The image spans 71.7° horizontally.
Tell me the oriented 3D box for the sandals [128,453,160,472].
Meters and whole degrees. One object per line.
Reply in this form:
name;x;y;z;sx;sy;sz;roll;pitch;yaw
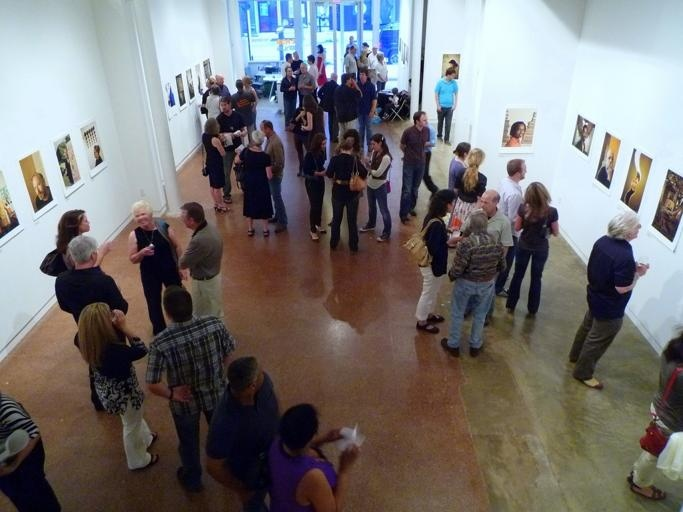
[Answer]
sandals;-1.958;2.059;4.695;0.278;0.082;0.116;-24;59;-31

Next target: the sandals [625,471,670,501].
sandals;2.838;2.156;4.410;0.297;0.080;0.165;27;70;29

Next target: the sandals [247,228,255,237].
sandals;-1.579;-0.409;8.174;0.062;0.072;0.187;-1;27;-1

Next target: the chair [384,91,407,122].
chair;1.587;-4.484;14.385;0.823;0.845;0.944;7;-9;7

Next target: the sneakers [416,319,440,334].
sneakers;1.132;0.908;6.165;0.251;0.105;0.141;8;42;16

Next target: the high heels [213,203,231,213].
high heels;-2.293;-0.941;9.022;0.282;0.150;0.158;-9;46;2

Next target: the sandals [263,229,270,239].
sandals;-1.317;-0.412;8.199;0.068;0.076;0.206;3;53;-4

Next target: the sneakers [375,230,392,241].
sneakers;0.698;-0.351;8.030;0.229;0.146;0.204;9;28;18

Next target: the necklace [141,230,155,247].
necklace;-2.237;-0.202;5.428;0.156;0.168;0.088;-3;9;-19

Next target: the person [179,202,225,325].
person;-1.661;0.125;5.582;0.511;1.838;0.550;21;48;5

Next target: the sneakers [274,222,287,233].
sneakers;-1.074;-0.490;8.311;0.203;0.220;0.110;-3;32;-11

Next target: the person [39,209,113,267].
person;-3.262;-0.218;5.712;0.484;0.788;0.352;30;39;28

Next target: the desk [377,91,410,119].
desk;1.587;-4.506;14.367;0.852;0.910;0.972;3;-7;6

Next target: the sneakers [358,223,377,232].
sneakers;0.442;-0.493;8.281;0.303;0.132;0.115;1;56;1

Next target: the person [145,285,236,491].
person;-1.384;1.231;4.416;0.747;2.227;0.577;-17;36;-33

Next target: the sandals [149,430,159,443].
sandals;-1.956;1.864;4.899;0.039;0.046;0.116;10;45;-14

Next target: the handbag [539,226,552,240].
handbag;2.599;-0.301;6.022;0.105;0.169;0.137;-2;5;6

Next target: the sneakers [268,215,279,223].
sneakers;-1.237;-0.650;8.579;0.100;0.163;0.041;-4;-5;1

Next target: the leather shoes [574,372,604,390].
leather shoes;2.869;1.446;5.487;0.264;0.114;0.158;19;49;33

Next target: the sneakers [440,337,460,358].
sneakers;1.323;1.130;5.814;0.106;0.123;0.298;-17;44;-19

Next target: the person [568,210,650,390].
person;2.874;0.510;5.179;0.453;2.002;0.361;14;28;28

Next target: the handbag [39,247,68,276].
handbag;-3.135;0.093;5.177;0.264;0.295;0.117;10;17;-23

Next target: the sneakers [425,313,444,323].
sneakers;1.240;0.818;6.300;0.274;0.121;0.107;-1;47;1

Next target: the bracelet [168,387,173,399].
bracelet;-1.436;1.157;3.985;0.037;0.094;0.055;-6;26;-12
